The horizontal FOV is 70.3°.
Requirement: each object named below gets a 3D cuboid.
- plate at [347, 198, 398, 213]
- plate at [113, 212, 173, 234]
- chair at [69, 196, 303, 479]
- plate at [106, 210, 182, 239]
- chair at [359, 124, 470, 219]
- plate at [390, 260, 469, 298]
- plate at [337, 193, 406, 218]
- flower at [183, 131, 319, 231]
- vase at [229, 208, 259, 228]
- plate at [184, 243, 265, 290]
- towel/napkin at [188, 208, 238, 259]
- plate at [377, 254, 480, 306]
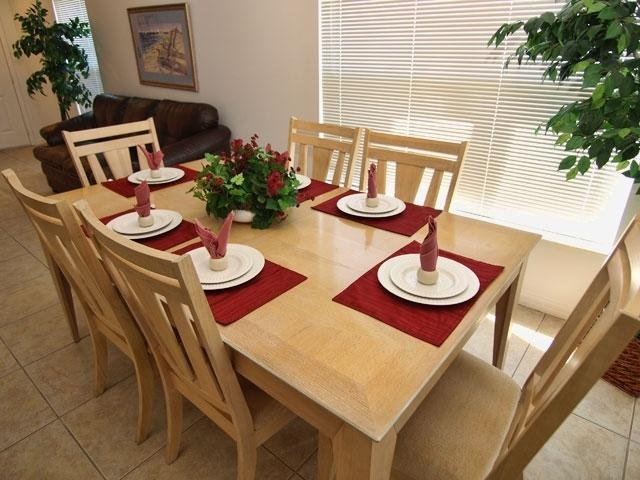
[{"bbox_3d":[0.278,-0.185,2.432,0.140,0.016,0.143,12,29,25],"label":"plate"},{"bbox_3d":[-0.895,-0.081,2.267,0.165,0.021,0.170,-2,26,-1],"label":"plate"},{"bbox_3d":[-0.570,0.444,2.004,0.649,1.206,0.781,29,41,34],"label":"chair"},{"bbox_3d":[-0.879,-0.073,2.256,0.201,0.024,0.207,-2,26,-3],"label":"plate"},{"bbox_3d":[0.595,-0.431,2.808,0.450,0.833,0.487,20,37,24],"label":"chair"},{"bbox_3d":[0.439,0.162,1.885,0.187,0.028,0.195,13,35,21],"label":"plate"},{"bbox_3d":[0.274,-0.178,2.426,0.196,0.024,0.204,-2,31,-1],"label":"plate"},{"bbox_3d":[-0.398,-0.239,2.423,0.574,0.361,0.630,6,5,32],"label":"flower"},{"bbox_3d":[-0.395,-0.119,2.315,0.082,0.045,0.079,21,31,36],"label":"vase"},{"bbox_3d":[-0.411,0.118,1.962,0.216,0.027,0.221,11,30,19],"label":"plate"},{"bbox_3d":[-0.467,-0.006,2.004,0.192,0.212,0.193,-8,28,-11],"label":"towel/napkin"},{"bbox_3d":[0.449,0.168,1.881,0.251,0.034,0.266,12,30,28],"label":"plate"}]
